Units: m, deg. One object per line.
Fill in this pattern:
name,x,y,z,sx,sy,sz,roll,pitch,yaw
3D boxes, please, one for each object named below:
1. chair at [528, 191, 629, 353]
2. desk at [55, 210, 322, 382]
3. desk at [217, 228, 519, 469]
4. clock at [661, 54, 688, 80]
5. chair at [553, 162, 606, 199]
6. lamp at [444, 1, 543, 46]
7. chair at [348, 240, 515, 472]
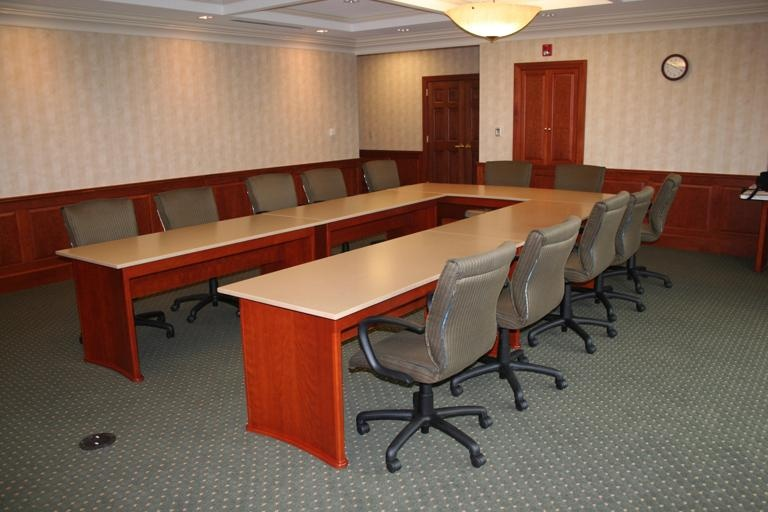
chair,2.168,-0.015,5.397,1.032,1.215,0.982,-12,15,-4
desk,-1.755,0.259,5.010,0.849,0.769,2.061,8,16,34
desk,0.338,0.677,4.271,2.705,0.989,1.265,-6,7,-41
clock,4.127,-2.694,7.381,0.439,0.357,0.045,6,16,36
chair,2.607,-1.015,6.954,0.544,0.531,0.524,8,11,32
lamp,1.097,-2.243,5.143,0.620,0.163,0.518,3,13,18
chair,0.306,0.645,3.541,1.168,1.247,1.033,-2,4,12
